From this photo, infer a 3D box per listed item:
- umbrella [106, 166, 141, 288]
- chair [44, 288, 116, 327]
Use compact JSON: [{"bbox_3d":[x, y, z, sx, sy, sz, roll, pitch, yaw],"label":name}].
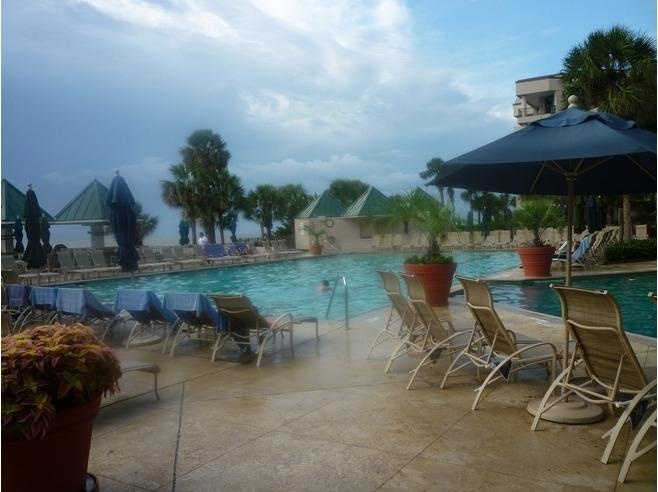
[{"bbox_3d":[-5.080,-0.607,10.491,0.652,2.666,0.778,-7,3,-24],"label":"umbrella"},{"bbox_3d":[-4.138,1.061,7.192,0.771,0.557,0.950,1,3,21],"label":"chair"}]
